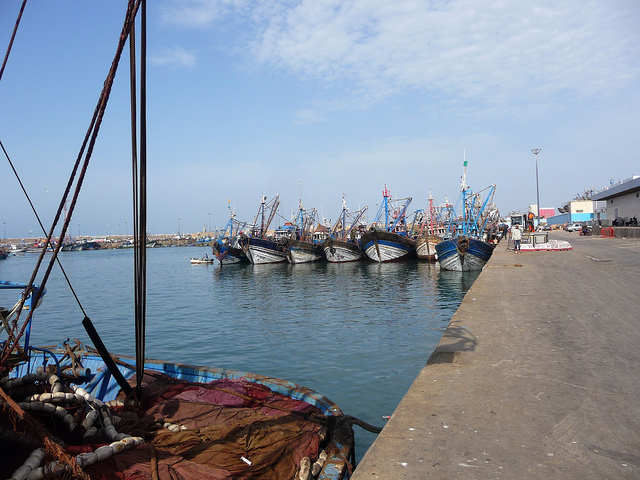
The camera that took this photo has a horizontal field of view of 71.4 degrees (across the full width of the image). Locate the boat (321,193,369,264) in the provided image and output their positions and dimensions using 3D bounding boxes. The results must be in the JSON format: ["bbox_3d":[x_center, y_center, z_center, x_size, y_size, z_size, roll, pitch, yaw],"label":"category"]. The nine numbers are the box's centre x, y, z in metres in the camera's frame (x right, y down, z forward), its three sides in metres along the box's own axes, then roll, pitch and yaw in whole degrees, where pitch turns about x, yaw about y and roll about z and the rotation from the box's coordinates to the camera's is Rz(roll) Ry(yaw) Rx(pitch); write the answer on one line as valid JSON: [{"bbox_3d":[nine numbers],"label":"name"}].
[{"bbox_3d":[3.215,-1.785,50.488,3.858,7.439,12.078,2,6,23],"label":"boat"}]

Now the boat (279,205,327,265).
[{"bbox_3d":[-2.483,0.332,50.428,4.291,8.813,5.243,3,4,39],"label":"boat"}]

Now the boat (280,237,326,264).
[{"bbox_3d":[-1.439,1.304,48.926,2.251,1.696,5.344,1,-4,32],"label":"boat"}]

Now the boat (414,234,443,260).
[{"bbox_3d":[9.692,0.633,40.171,2.399,1.769,4.723,1,2,18],"label":"boat"}]

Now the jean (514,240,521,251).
[{"bbox_3d":[10.949,0.278,24.890,0.254,0.631,0.959,-1,1,23],"label":"jean"}]

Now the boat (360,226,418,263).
[{"bbox_3d":[6.910,0.391,42.628,5.843,3.473,4.486,-2,1,-4],"label":"boat"}]

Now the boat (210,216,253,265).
[{"bbox_3d":[-9.579,0.686,49.332,3.740,6.021,3.073,-2,2,-27],"label":"boat"}]

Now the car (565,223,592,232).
[{"bbox_3d":[32.969,-1.608,57.019,3.250,1.521,1.826,-1,2,18],"label":"car"}]
